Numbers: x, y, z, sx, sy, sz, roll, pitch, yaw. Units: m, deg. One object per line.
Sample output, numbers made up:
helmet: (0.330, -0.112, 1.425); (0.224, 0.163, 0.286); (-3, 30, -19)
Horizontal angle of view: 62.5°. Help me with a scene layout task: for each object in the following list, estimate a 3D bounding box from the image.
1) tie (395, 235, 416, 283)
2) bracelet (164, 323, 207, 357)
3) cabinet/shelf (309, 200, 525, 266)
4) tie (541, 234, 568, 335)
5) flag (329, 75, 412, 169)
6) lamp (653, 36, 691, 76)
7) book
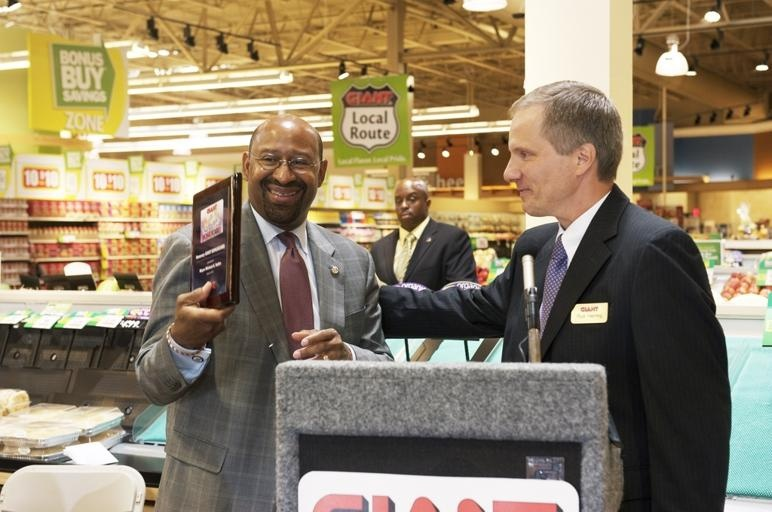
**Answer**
tie: (0.158, 0.014, 5.532); (0.086, 0.383, 0.222); (24, -16, -28)
bracelet: (-0.642, 0.274, 2.064); (0.130, 0.083, 0.056); (-7, 4, -21)
cabinet/shelf: (1.200, -0.125, 16.676); (5.419, 1.970, 1.612); (-1, -3, -8)
tie: (0.601, 0.066, 2.197); (0.065, 0.068, 0.453); (12, 49, 11)
flag: (-0.173, -1.751, 8.212); (1.351, 1.519, 0.076); (-1, -8, 3)
lamp: (4.180, -2.927, 9.276); (0.502, 0.577, 0.505); (-3, 8, -27)
book: (-0.551, -0.046, 2.028); (0.117, 0.286, 0.355); (-8, 5, -34)
